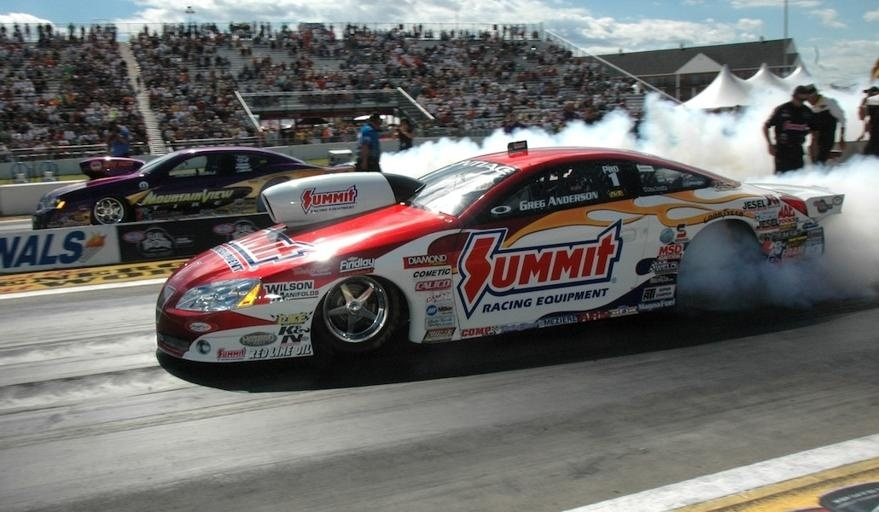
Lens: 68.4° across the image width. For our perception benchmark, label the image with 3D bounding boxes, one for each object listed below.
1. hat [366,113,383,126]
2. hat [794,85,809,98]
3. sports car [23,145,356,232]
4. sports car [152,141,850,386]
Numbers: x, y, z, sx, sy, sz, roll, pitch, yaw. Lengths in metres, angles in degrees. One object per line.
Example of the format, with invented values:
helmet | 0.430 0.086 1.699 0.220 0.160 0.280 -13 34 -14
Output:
hat | -1.061 -2.331 11.064 0.187 0.230 0.419 -7 13 -7
hat | 5.933 -2.667 10.573 0.242 0.197 0.186 2 16 20
sports car | -5.422 -1.388 12.587 5.989 0.894 2.678 -11 18 -40
sports car | 0.809 -0.182 6.802 7.389 2.015 1.616 -4 15 -14
